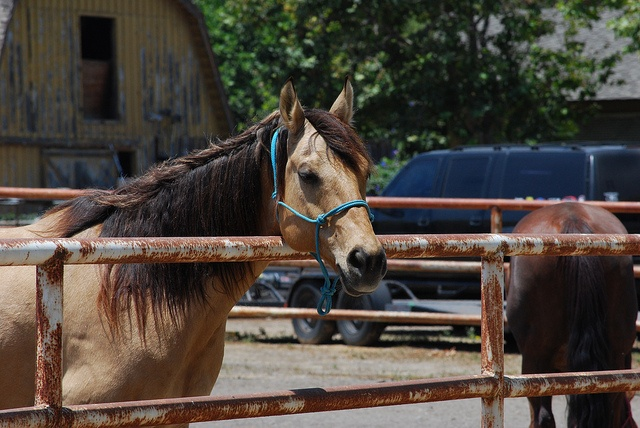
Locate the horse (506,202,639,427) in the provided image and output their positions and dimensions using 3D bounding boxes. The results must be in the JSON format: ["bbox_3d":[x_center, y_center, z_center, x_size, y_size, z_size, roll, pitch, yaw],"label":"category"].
[{"bbox_3d":[1.929,0.828,9.184,1.006,1.722,0.837,4,6,9],"label":"horse"}]
